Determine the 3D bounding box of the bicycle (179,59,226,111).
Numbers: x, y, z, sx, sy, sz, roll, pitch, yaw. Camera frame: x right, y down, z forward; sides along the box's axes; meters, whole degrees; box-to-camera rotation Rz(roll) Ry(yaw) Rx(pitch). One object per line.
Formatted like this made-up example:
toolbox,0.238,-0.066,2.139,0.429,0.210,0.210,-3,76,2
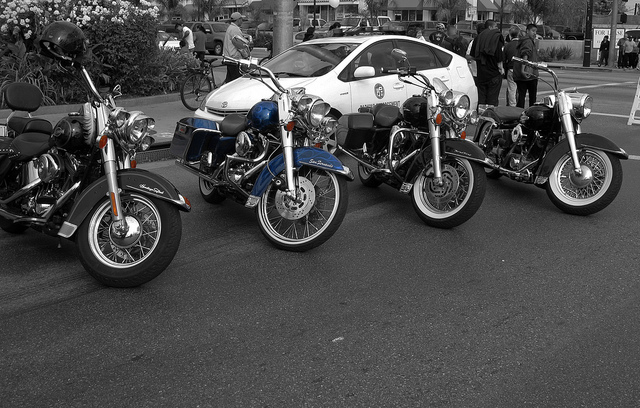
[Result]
bicycle,-3.495,-3.513,13.428,0.970,1.269,2.118,13,30,23

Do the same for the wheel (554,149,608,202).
wheel,3.858,-0.436,6.664,0.646,0.829,0.228,-2,-5,35
